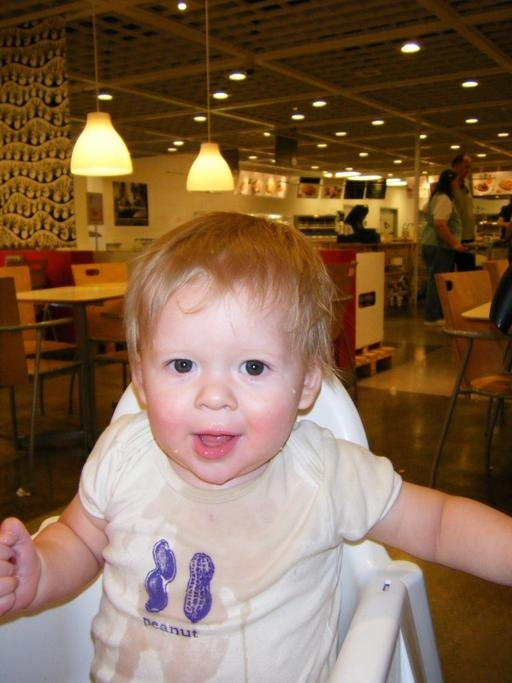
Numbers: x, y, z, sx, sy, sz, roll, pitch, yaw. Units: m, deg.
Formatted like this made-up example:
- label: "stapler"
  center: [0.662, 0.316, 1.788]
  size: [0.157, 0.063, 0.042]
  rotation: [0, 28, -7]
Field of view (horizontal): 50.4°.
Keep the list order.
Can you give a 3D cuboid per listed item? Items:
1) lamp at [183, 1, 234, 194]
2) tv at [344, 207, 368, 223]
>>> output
- label: "lamp"
  center: [-0.366, -1.867, 5.003]
  size: [0.516, 2.104, 0.526]
  rotation: [0, 11, 1]
- label: "tv"
  center: [1.543, -1.960, 8.413]
  size: [0.315, 0.259, 0.080]
  rotation: [-8, 21, -31]
